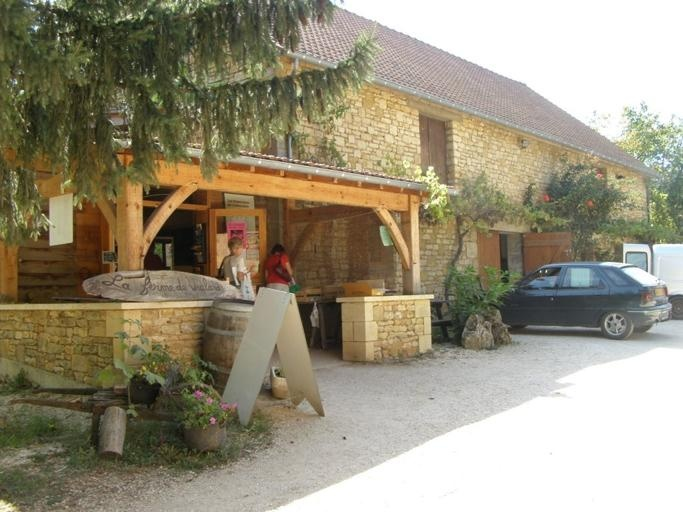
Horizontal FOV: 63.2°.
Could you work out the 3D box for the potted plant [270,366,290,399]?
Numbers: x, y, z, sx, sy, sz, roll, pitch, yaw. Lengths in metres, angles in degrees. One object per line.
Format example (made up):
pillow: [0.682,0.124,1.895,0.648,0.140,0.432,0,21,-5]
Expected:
potted plant: [-0.808,1.646,7.084,0.242,0.327,0.320,2,-9,-17]

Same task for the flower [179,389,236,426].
flower: [-1.346,1.502,5.450,0.354,0.223,0.367,15,8,1]

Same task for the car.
car: [5.327,0.711,12.169,3.212,1.384,1.833,1,1,34]

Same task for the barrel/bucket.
barrel/bucket: [-1.413,1.083,6.639,0.737,1.059,0.340,0,2,34]

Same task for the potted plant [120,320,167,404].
potted plant: [-2.175,1.182,6.057,0.594,0.951,0.586,8,-10,-37]

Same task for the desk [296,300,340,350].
desk: [-0.411,1.488,11.689,0.863,1.163,1.167,-6,-5,33]

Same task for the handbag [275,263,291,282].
handbag: [-1.067,0.298,10.191,0.333,0.121,0.236,47,1,-7]

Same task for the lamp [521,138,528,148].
lamp: [5.825,-3.622,17.663,0.271,0.298,0.155,-1,7,-19]
